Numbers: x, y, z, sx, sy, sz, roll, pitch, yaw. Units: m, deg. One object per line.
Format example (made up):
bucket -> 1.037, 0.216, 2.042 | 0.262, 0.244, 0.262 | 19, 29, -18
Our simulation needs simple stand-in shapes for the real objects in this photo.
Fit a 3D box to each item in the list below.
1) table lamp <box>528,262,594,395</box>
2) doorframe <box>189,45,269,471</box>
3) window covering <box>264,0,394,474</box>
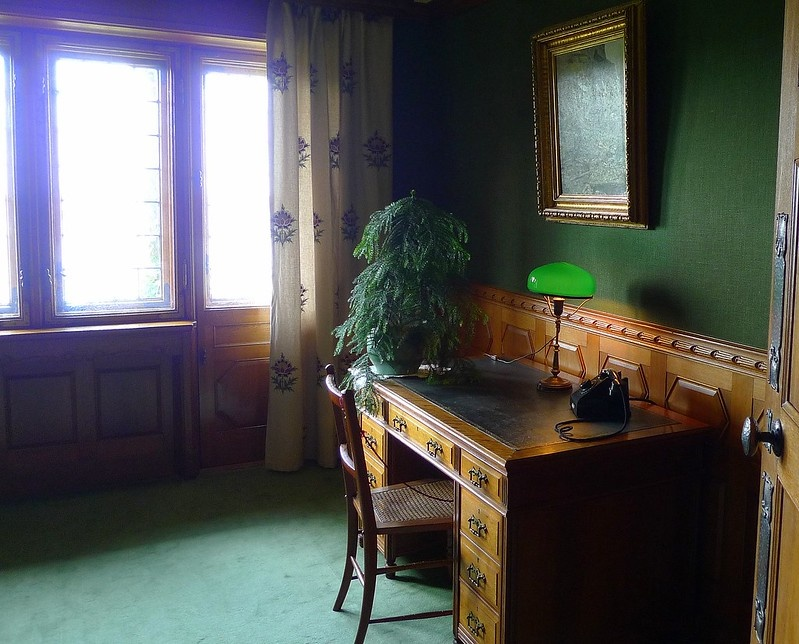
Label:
table lamp -> 0.653, 0.011, 2.596 | 0.259, 0.528, 0.272 | 2, 8, -15
doorframe -> -1.025, -0.359, 3.826 | 0.462, 2.493, 0.275 | -2, 11, -15
window covering -> -0.437, -0.487, 3.786 | 0.776, 2.773, 0.404 | 0, 10, -5
